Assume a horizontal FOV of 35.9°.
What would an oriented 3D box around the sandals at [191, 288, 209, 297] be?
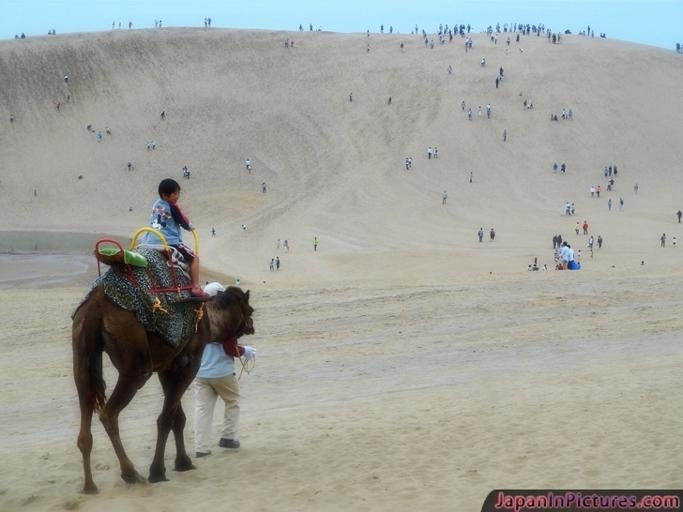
[{"bbox_3d":[-4.379,1.088,32.488,0.198,0.210,0.521,3,7,3],"label":"sandals"}]
